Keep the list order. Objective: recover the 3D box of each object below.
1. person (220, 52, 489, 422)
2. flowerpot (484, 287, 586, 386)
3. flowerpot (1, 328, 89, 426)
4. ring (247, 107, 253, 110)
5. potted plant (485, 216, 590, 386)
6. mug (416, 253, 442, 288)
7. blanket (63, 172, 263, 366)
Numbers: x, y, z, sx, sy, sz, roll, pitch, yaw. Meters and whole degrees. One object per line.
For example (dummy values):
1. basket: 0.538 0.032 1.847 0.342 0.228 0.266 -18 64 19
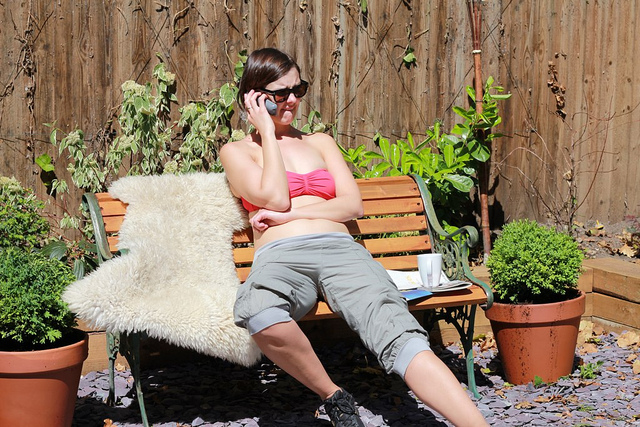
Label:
1. person: -0.008 0.055 3.615 1.000 2.208 1.402 -4 5 -17
2. flowerpot: 1.428 0.834 3.936 0.539 0.519 0.582 -1 5 28
3. flowerpot: -1.552 0.942 3.461 0.381 0.411 0.437 1 2 0
4. ring: -0.455 -0.695 3.937 0.052 0.012 0.010 1 7 40
5. potted plant: 1.497 0.563 4.177 0.563 1.149 0.694 -3 0 14
6. mug: 0.689 0.350 3.743 0.121 0.203 0.206 1 12 11
7. blanket: -0.948 0.332 3.780 1.018 1.138 0.745 -4 5 -7
